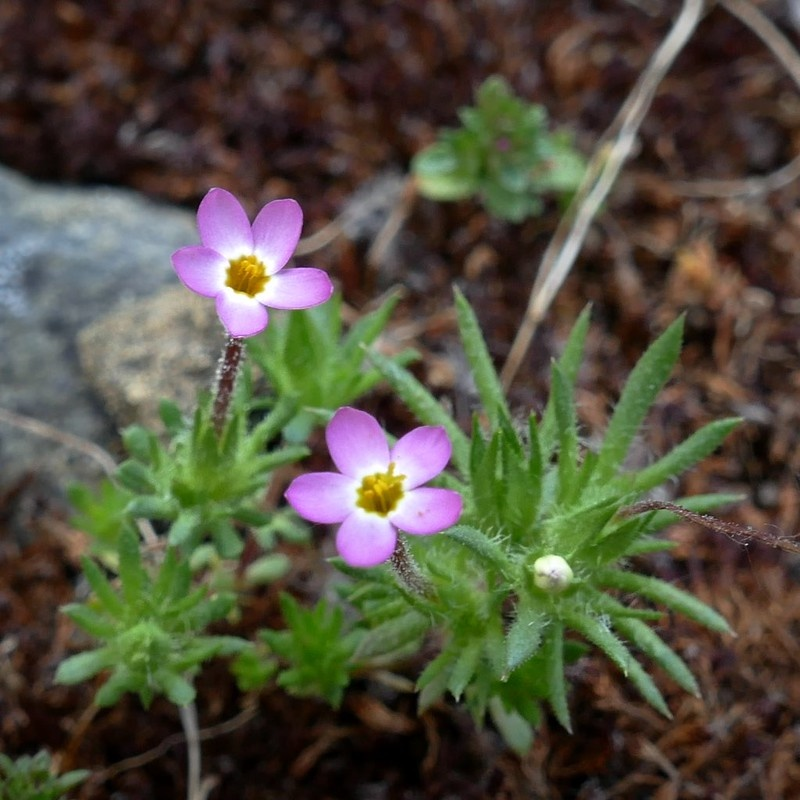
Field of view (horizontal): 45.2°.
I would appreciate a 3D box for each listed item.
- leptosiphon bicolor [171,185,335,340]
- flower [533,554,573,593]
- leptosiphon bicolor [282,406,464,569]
[{"bbox_3d":[-0.394,-0.353,2.695,0.458,0.222,0.514,24,36,-2],"label":"leptosiphon bicolor"},{"bbox_3d":[0.412,0.460,2.528,0.090,0.108,0.056,2,89,3],"label":"flower"},{"bbox_3d":[-0.056,0.233,2.478,0.443,0.165,0.378,-19,69,13],"label":"leptosiphon bicolor"}]
